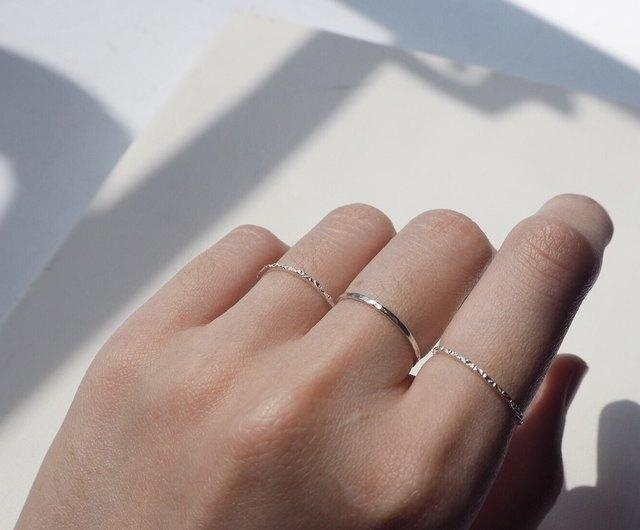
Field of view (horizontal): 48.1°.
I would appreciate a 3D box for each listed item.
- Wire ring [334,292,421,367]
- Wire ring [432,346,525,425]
[{"bbox_3d":[0.075,0.057,0.794,0.084,0.074,0.069,3,30,2],"label":"Wire ring"},{"bbox_3d":[0.173,0.129,0.790,0.115,0.045,0.037,25,4,15],"label":"Wire ring"}]
